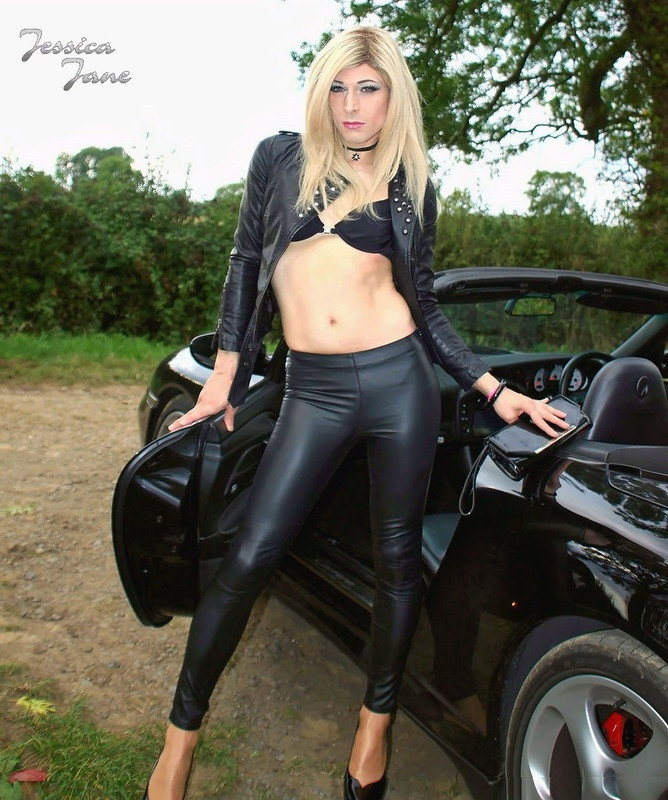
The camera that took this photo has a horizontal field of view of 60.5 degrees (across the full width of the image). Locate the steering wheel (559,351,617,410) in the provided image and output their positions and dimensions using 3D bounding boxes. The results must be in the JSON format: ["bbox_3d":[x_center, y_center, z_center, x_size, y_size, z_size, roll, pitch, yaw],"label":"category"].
[{"bbox_3d":[0.847,-0.066,1.899,0.236,0.149,0.025,-9,30,-25],"label":"steering wheel"}]

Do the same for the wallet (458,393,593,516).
[{"bbox_3d":[0.459,0.145,1.332,0.344,0.091,0.188,-36,35,-5],"label":"wallet"}]

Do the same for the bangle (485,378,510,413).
[{"bbox_3d":[0.409,-0.005,1.441,0.018,0.069,0.071,38,24,-18],"label":"bangle"}]

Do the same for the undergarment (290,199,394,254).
[{"bbox_3d":[0.023,-0.390,1.371,0.170,0.160,0.161,-2,15,-28],"label":"undergarment"}]
